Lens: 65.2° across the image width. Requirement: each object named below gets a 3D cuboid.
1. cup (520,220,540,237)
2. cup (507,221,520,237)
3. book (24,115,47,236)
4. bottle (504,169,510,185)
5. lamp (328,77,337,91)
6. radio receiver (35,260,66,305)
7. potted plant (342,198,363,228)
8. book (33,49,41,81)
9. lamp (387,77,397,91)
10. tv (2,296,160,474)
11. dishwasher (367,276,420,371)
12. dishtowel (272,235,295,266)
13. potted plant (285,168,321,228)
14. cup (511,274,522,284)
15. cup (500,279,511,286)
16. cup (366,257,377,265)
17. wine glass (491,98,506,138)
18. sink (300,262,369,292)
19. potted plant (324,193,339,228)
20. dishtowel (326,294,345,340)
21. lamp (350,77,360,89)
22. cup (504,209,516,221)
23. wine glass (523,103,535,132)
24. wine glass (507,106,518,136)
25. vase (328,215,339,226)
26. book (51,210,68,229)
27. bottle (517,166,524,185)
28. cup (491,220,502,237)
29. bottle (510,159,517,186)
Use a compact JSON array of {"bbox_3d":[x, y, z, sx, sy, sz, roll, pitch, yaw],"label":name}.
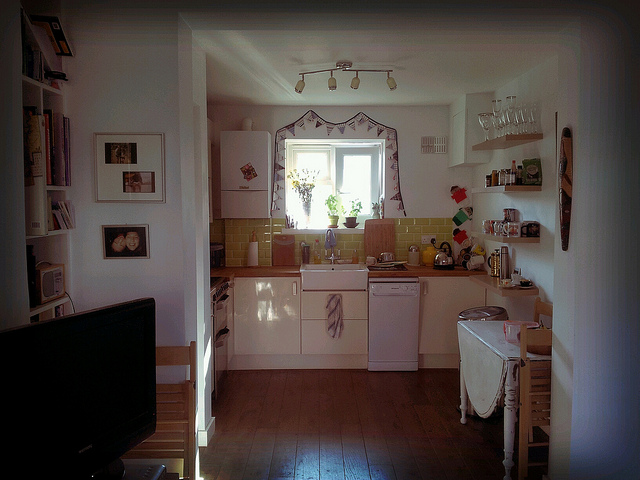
[{"bbox_3d":[1.636,-0.086,3.914,0.109,0.090,0.118,0,1,0],"label":"cup"},{"bbox_3d":[1.570,-0.096,4.066,0.087,0.096,0.347,3,11,21],"label":"cup"},{"bbox_3d":[-1.553,-0.349,2.740,0.127,0.650,0.099,-5,10,-27],"label":"book"},{"bbox_3d":[1.486,-0.495,3.979,0.034,0.111,0.066,2,9,18],"label":"bottle"},{"bbox_3d":[0.102,-1.263,4.063,0.088,0.043,0.179,-1,-29,3],"label":"lamp"},{"bbox_3d":[-1.576,0.246,2.889,0.102,0.236,0.239,2,6,4],"label":"radio receiver"},{"bbox_3d":[0.372,-0.289,5.403,0.228,0.410,0.234,-1,-2,-1],"label":"potted plant"},{"bbox_3d":[-1.557,-0.960,2.772,0.028,0.138,0.118,3,15,-21],"label":"book"},{"bbox_3d":[0.577,-1.265,4.054,0.065,0.120,0.041,-15,24,5],"label":"lamp"},{"bbox_3d":[-0.968,0.602,2.037,0.237,0.719,0.766,-2,1,30],"label":"tv"},{"bbox_3d":[0.729,0.734,5.033,0.553,0.988,0.682,0,17,0],"label":"dishwasher"},{"bbox_3d":[-0.373,0.119,5.279,0.238,0.356,0.032,0,-24,-8],"label":"dishtowel"},{"bbox_3d":[-0.144,-0.472,5.389,0.475,0.846,0.493,-2,4,-5],"label":"potted plant"},{"bbox_3d":[1.568,0.310,4.009,0.059,0.080,0.061,4,3,0],"label":"cup"},{"bbox_3d":[1.477,0.335,3.985,0.074,0.041,0.106,2,10,16],"label":"cup"},{"bbox_3d":[0.527,0.214,5.120,0.071,0.091,0.063,-6,1,39],"label":"cup"},{"bbox_3d":[1.513,-1.030,4.222,0.101,0.343,0.661,3,10,19],"label":"wine glass"},{"bbox_3d":[0.140,0.345,5.021,0.651,0.199,0.593,-1,10,-1],"label":"sink"},{"bbox_3d":[0.152,-0.286,5.406,0.136,0.313,0.127,9,-15,-22],"label":"potted plant"},{"bbox_3d":[0.143,0.724,4.749,0.159,0.418,0.052,0,9,3],"label":"dishtowel"},{"bbox_3d":[0.294,-1.258,4.029,0.055,0.106,0.098,3,4,6],"label":"lamp"},{"bbox_3d":[1.596,-0.202,4.254,0.107,0.120,0.085,-1,1,-6],"label":"cup"},{"bbox_3d":[1.619,-0.943,3.889,0.089,0.214,0.064,-7,11,-38],"label":"wine glass"},{"bbox_3d":[1.503,-0.937,3.933,0.081,0.202,0.100,5,10,31],"label":"wine glass"},{"bbox_3d":[0.157,-0.206,5.384,0.112,0.115,0.051,-8,12,-39],"label":"vase"},{"bbox_3d":[-1.530,-0.119,2.948,0.018,0.085,0.079,-5,-2,7],"label":"book"},{"bbox_3d":[1.607,-0.513,4.018,0.051,0.130,0.220,3,10,21],"label":"bottle"},{"bbox_3d":[1.443,-0.089,4.137,0.095,0.146,0.109,0,9,0],"label":"cup"},{"bbox_3d":[1.539,-0.528,3.987,0.056,0.173,0.113,3,10,21],"label":"bottle"}]
